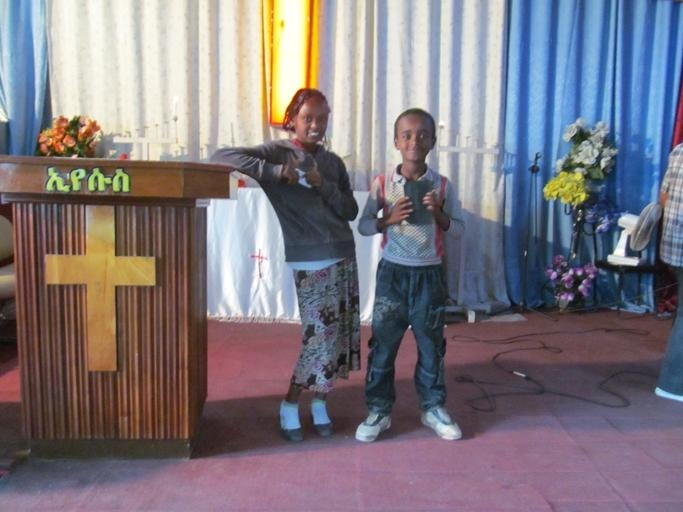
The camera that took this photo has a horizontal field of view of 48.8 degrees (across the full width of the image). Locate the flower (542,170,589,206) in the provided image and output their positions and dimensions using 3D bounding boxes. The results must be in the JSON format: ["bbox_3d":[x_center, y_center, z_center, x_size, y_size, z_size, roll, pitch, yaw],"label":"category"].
[{"bbox_3d":[1.857,-0.543,6.221,0.303,0.255,0.302,3,-1,-6],"label":"flower"}]

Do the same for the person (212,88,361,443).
[{"bbox_3d":[-0.225,0.041,4.013,0.669,1.817,0.374,-2,12,-15],"label":"person"}]

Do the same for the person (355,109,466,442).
[{"bbox_3d":[0.361,0.224,4.056,0.555,1.478,0.404,1,11,1],"label":"person"}]

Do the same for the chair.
[{"bbox_3d":[2.314,0.047,6.176,0.555,0.785,0.540,-1,4,10],"label":"chair"}]

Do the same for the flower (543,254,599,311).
[{"bbox_3d":[1.903,0.222,6.467,0.459,0.459,0.450,0,0,-12],"label":"flower"}]

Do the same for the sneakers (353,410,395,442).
[{"bbox_3d":[0.170,0.909,4.044,0.090,0.108,0.256,0,-6,28],"label":"sneakers"}]

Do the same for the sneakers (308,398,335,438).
[{"bbox_3d":[-0.103,0.873,4.051,0.081,0.102,0.241,-2,4,-8],"label":"sneakers"}]

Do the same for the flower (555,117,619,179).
[{"bbox_3d":[2.025,-0.866,6.226,0.461,0.512,0.345,4,11,14],"label":"flower"}]

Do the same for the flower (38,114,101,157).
[{"bbox_3d":[-2.179,-0.955,6.025,0.460,0.311,0.198,-3,12,-21],"label":"flower"}]

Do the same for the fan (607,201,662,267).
[{"bbox_3d":[2.113,-0.179,5.468,0.323,0.497,0.420,5,6,24],"label":"fan"}]

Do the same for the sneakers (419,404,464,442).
[{"bbox_3d":[0.543,0.902,4.121,0.116,0.108,0.251,-6,5,-35],"label":"sneakers"}]

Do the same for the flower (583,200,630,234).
[{"bbox_3d":[2.179,-0.343,6.285,0.275,0.158,0.295,-5,27,-5],"label":"flower"}]
